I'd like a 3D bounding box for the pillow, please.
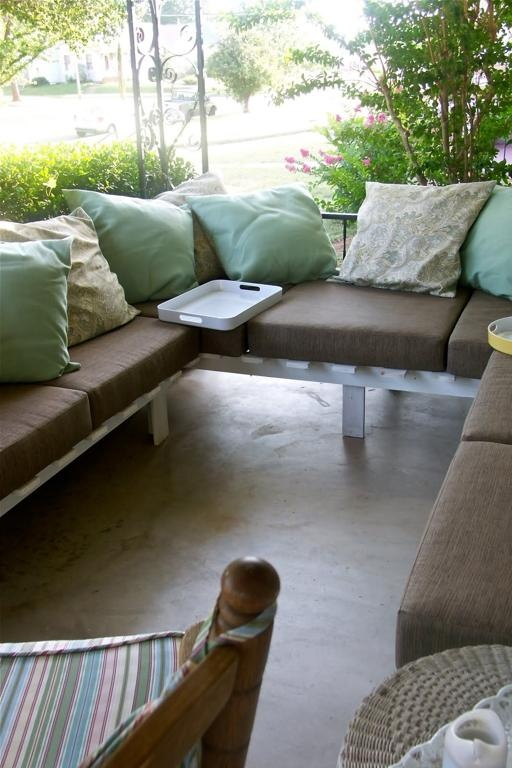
[{"bbox_3d":[0.096,-0.362,2.359,1.757,0.445,0.844,8,37,15],"label":"pillow"}]
